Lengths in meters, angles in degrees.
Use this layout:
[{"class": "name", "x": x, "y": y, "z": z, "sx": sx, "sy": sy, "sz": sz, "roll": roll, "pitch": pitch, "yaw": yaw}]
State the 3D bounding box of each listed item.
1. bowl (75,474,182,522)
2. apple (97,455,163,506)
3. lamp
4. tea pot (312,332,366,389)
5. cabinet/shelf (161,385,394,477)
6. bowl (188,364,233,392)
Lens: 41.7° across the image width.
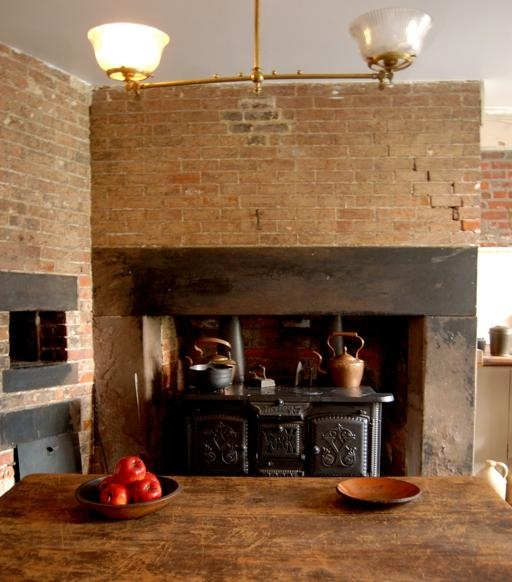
[{"class": "bowl", "x": -0.442, "y": 0.726, "z": 2.331, "sx": 0.354, "sy": 0.079, "sz": 0.320, "roll": 1, "pitch": 2, "yaw": -3}, {"class": "apple", "x": -0.424, "y": 0.618, "z": 2.306, "sx": 0.265, "sy": 0.179, "sz": 0.149, "roll": 2, "pitch": -10, "yaw": -15}, {"class": "lamp", "x": 0.045, "y": -1.091, "z": 2.980, "sx": 0.882, "sy": 0.467, "sz": 0.156, "roll": 1, "pitch": -34, "yaw": 1}, {"class": "tea pot", "x": 0.504, "y": 0.405, "z": 3.949, "sx": 0.308, "sy": 0.296, "sz": 0.233, "roll": -2, "pitch": 5, "yaw": 17}, {"class": "cabinet/shelf", "x": 0.137, "y": 0.776, "z": 3.697, "sx": 1.163, "sy": 0.448, "sz": 0.408, "roll": 1, "pitch": 9, "yaw": 13}, {"class": "bowl", "x": -0.267, "y": 0.491, "z": 3.790, "sx": 0.170, "sy": 0.094, "sz": 0.185, "roll": 0, "pitch": -3, "yaw": 0}]
